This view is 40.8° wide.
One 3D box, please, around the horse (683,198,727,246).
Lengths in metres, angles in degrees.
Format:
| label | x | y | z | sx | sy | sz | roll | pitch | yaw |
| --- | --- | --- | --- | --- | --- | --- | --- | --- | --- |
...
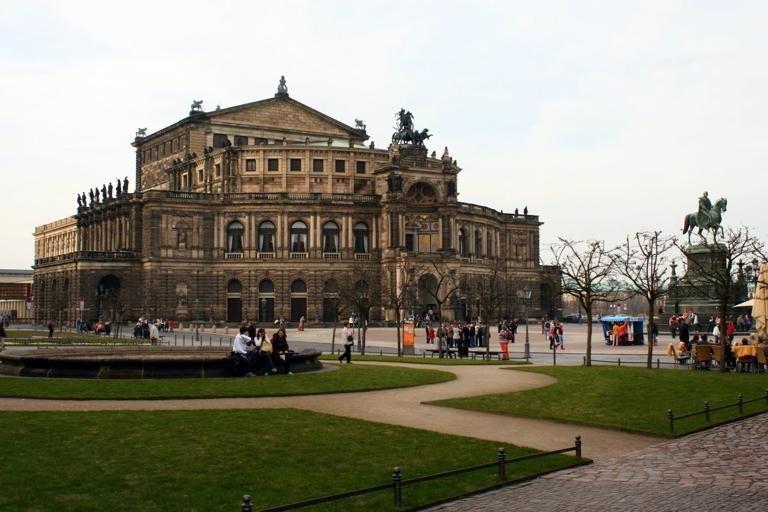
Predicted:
| label | x | y | z | sx | sy | sz | roll | pitch | yaw |
| --- | --- | --- | --- | --- | --- | --- | --- | --- | --- |
| horse | 22.445 | -2.358 | 71.851 | 3.685 | 5.032 | 2.519 | 0 | -2 | 3 |
